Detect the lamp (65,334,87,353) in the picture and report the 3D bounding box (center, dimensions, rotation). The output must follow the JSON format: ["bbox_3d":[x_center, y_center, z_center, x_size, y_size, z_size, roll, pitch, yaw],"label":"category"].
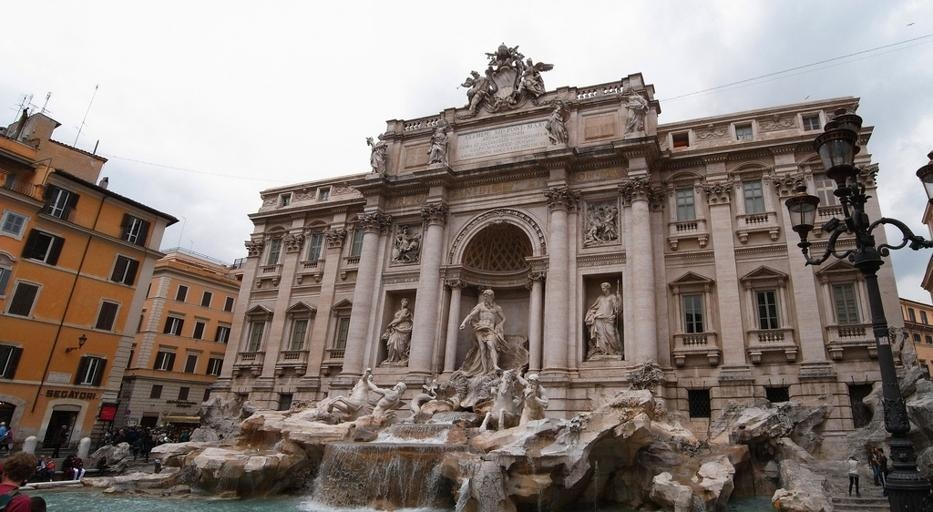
[{"bbox_3d":[-27.271,6.103,38.077,0.956,1.382,0.520,12,-25,-22],"label":"lamp"}]

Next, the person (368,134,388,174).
[{"bbox_3d":[-6.336,-7.290,39.491,1.112,3.244,0.568,2,-24,0],"label":"person"}]

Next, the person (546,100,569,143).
[{"bbox_3d":[6.007,-8.793,35.659,1.234,3.301,0.674,0,-24,7],"label":"person"}]
